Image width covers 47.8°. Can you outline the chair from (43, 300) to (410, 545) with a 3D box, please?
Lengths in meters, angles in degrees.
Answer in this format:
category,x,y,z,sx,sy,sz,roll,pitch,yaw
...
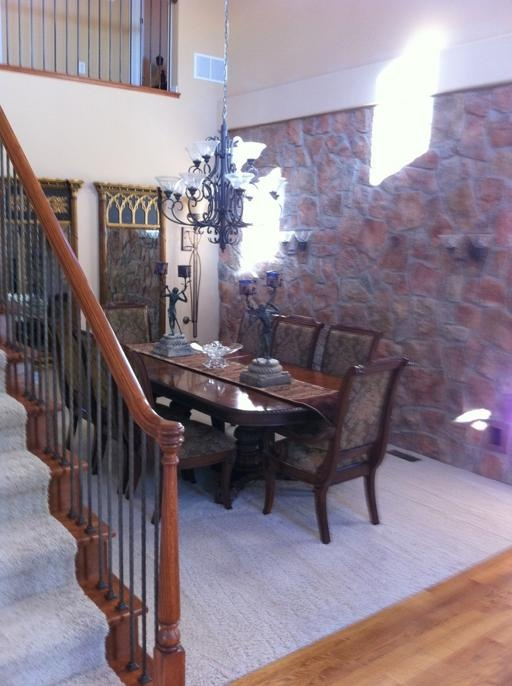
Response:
category,x,y,z,sx,sy,sz,roll,pitch,yaw
chair,-0.078,0.459,3.145,0.713,0.624,1.264,-7,14,-33
